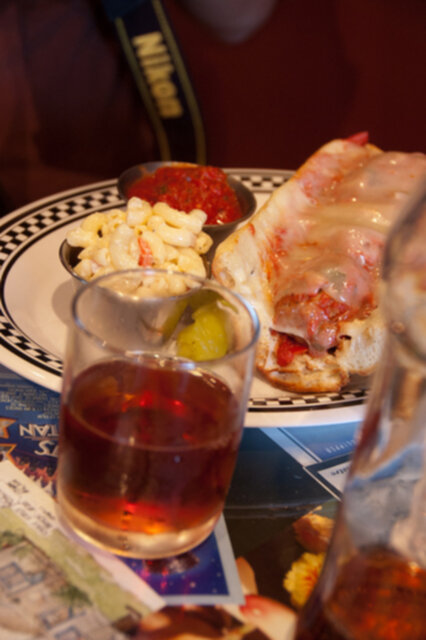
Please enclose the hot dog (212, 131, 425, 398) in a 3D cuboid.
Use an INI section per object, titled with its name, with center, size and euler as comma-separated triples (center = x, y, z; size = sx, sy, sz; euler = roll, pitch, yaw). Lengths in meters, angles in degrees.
[hot dog]
center = 0.260, -0.137, 1.337
size = 0.384, 0.188, 0.640
euler = 29, 51, 14
